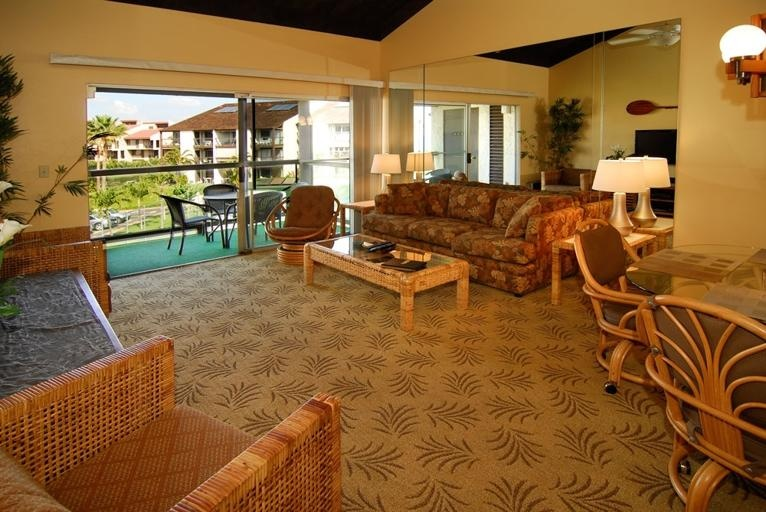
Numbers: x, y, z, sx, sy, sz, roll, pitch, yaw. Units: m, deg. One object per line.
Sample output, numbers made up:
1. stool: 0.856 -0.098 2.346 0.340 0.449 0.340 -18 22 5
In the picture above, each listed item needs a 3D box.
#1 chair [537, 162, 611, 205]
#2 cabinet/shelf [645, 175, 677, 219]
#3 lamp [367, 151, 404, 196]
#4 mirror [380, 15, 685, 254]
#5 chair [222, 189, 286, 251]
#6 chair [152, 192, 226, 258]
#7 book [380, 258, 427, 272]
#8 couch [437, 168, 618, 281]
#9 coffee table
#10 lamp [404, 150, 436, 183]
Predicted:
1. chair: 2.407 -0.937 6.087 0.566 0.545 0.544 -7 13 -35
2. cabinet/shelf: 3.008 -0.645 5.212 0.457 0.378 0.253 5 11 38
3. lamp: 0.043 -1.369 7.548 0.570 0.694 0.582 -1 8 -3
4. mirror: 1.894 -1.472 5.893 0.070 1.913 3.640 -9 15 -40
5. chair: -1.940 -0.711 7.243 0.833 0.954 0.962 21 27 39
6. chair: -2.739 -0.515 6.856 0.837 0.915 0.774 -13 23 -36
7. book: 0.209 0.080 4.774 0.428 0.057 0.289 11 18 33
8. couch: 1.644 -0.337 5.361 0.811 0.504 1.372 -12 17 -31
9. coffee table: 0.014 0.179 5.240 0.896 0.597 1.620 -14 21 -42
10. lamp: 0.587 -1.447 7.671 0.453 0.544 0.448 -3 8 -15
